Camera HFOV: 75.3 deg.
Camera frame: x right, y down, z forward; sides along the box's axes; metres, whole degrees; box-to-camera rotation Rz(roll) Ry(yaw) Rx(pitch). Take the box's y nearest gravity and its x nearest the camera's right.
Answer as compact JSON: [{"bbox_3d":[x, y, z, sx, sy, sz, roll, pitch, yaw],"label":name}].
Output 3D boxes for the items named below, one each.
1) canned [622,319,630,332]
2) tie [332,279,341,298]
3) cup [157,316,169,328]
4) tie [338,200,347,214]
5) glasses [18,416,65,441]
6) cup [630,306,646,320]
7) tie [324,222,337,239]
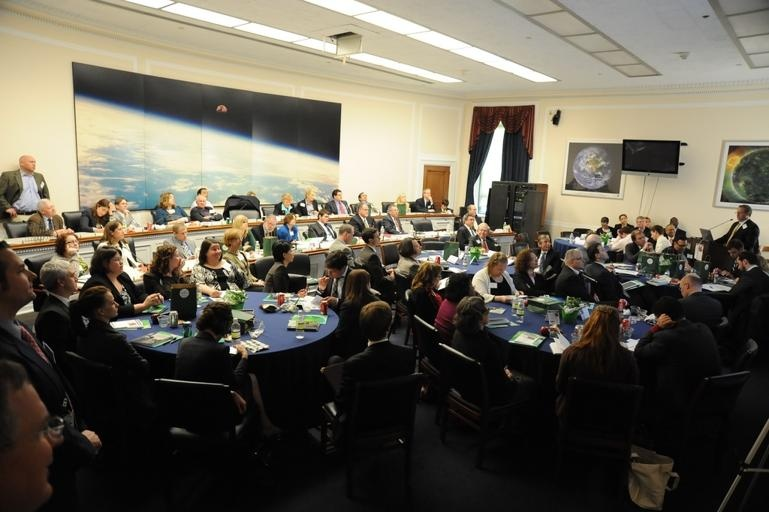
[{"bbox_3d":[2.631,0.747,5.419,0.100,0.049,0.135,-15,37,29],"label":"canned"},{"bbox_3d":[-0.567,0.383,6.013,0.069,0.183,0.190,12,-3,-43],"label":"tie"},{"bbox_3d":[-2.285,0.673,5.156,0.114,0.093,0.114,-1,-1,0],"label":"cup"},{"bbox_3d":[-1.005,-1.149,11.898,0.247,0.308,0.117,-2,-14,-44],"label":"tie"},{"bbox_3d":[-2.108,1.070,3.063,0.163,0.169,0.204,2,-6,-25],"label":"glasses"},{"bbox_3d":[3.017,0.682,5.873,0.209,0.169,0.133,-6,13,-2],"label":"cup"},{"bbox_3d":[-1.066,-0.479,9.860,0.281,0.132,0.353,7,23,-15],"label":"tie"}]
